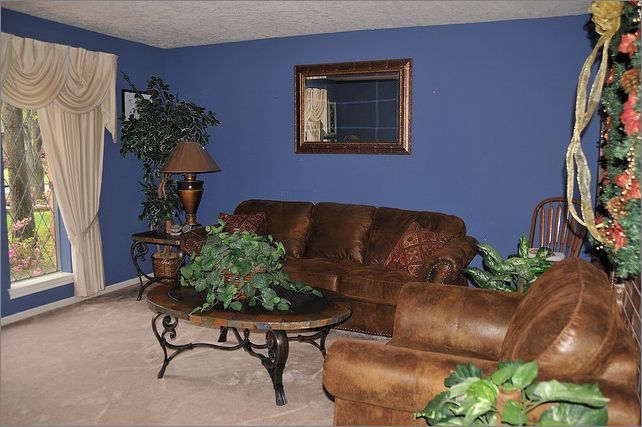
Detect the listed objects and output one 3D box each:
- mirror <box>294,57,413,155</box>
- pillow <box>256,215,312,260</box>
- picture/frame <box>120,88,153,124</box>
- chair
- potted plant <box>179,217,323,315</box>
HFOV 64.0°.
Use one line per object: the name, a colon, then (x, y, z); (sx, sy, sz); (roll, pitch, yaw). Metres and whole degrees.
mirror: (0.420, -1.233, 5.779); (1.252, 0.870, 0.053); (1, 2, 21)
pillow: (-0.345, 0.279, 5.688); (0.482, 0.453, 0.143); (0, -11, 22)
picture/frame: (-2.224, -1.277, 6.159); (0.040, 0.517, 0.498); (1, 5, 33)
chair: (2.373, 0.132, 5.243); (0.547, 0.871, 0.665); (4, 3, 37)
potted plant: (-0.595, 0.395, 4.046); (1.018, 0.640, 0.619); (-2, 9, -14)
